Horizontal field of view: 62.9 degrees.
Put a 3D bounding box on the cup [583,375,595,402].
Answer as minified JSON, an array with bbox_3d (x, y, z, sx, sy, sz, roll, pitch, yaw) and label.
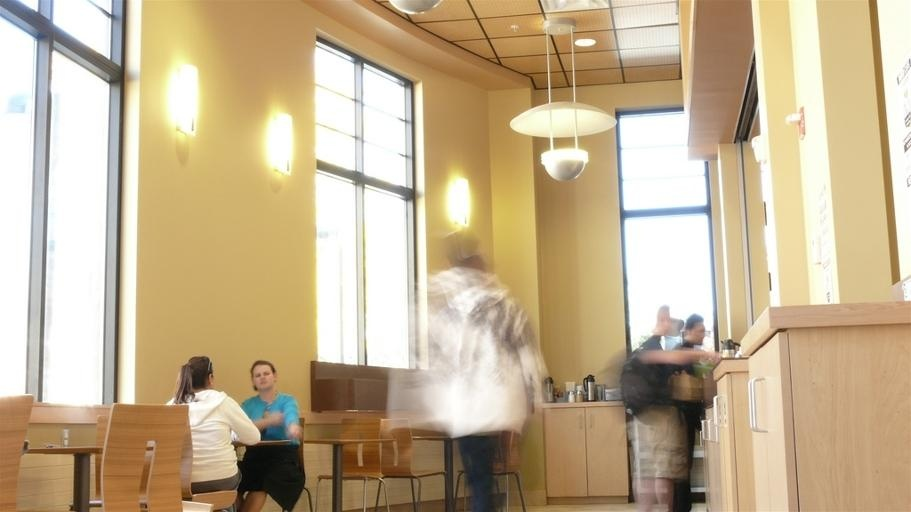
[{"bbox_3d":[1.774,1.762,9.912,0.188,0.330,0.314,-6,-12,22],"label":"cup"}]

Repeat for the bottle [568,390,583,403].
[{"bbox_3d":[1.573,1.862,9.810,0.185,0.162,0.100,-1,-10,5],"label":"bottle"}]

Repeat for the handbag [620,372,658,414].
[{"bbox_3d":[1.552,1.177,6.360,0.284,0.362,0.234,-9,-13,32],"label":"handbag"}]

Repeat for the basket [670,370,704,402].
[{"bbox_3d":[1.970,1.111,6.328,0.265,0.254,0.189,-5,-12,16],"label":"basket"}]
